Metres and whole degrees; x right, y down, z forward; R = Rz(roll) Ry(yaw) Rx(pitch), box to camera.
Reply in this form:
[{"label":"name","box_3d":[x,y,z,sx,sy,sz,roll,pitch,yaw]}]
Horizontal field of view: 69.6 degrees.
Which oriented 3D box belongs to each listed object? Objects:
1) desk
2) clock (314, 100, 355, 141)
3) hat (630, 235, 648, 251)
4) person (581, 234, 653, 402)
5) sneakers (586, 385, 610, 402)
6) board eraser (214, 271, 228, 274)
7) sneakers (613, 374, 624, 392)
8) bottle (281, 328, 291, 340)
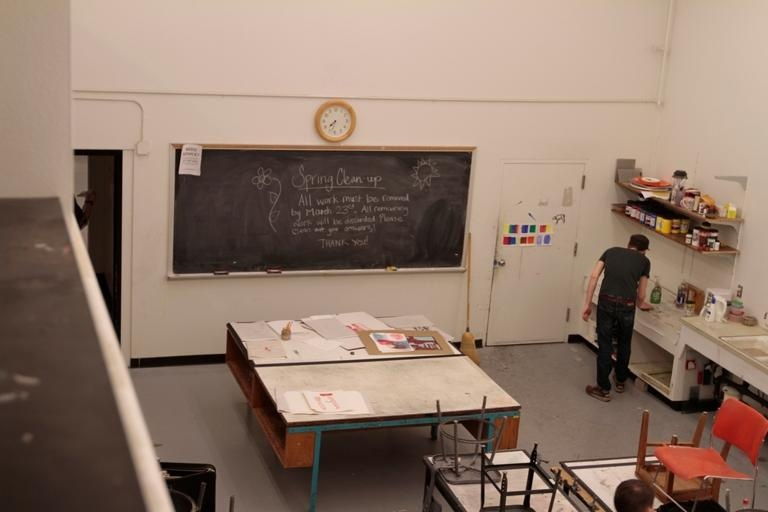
[{"label":"desk","box_3d":[-0.010,1.097,4.347,1.394,0.495,1.928,0,16,-17]},{"label":"clock","box_3d":[-0.546,-1.478,5.952,0.410,0.394,0.058,-9,11,-14]},{"label":"hat","box_3d":[2.706,-0.145,5.844,0.172,0.167,0.176,3,15,19]},{"label":"person","box_3d":[2.506,0.664,5.955,0.646,1.784,0.446,3,16,17]},{"label":"sneakers","box_3d":[2.354,1.497,6.124,0.115,0.121,0.280,-6,18,-30]},{"label":"board eraser","box_3d":[-1.765,0.173,5.980,0.134,0.049,0.033,-7,15,-22]},{"label":"sneakers","box_3d":[2.661,1.438,6.217,0.084,0.094,0.225,0,11,7]},{"label":"bottle","box_3d":[-0.894,0.711,5.112,0.090,0.097,0.098,2,0,-8]}]
